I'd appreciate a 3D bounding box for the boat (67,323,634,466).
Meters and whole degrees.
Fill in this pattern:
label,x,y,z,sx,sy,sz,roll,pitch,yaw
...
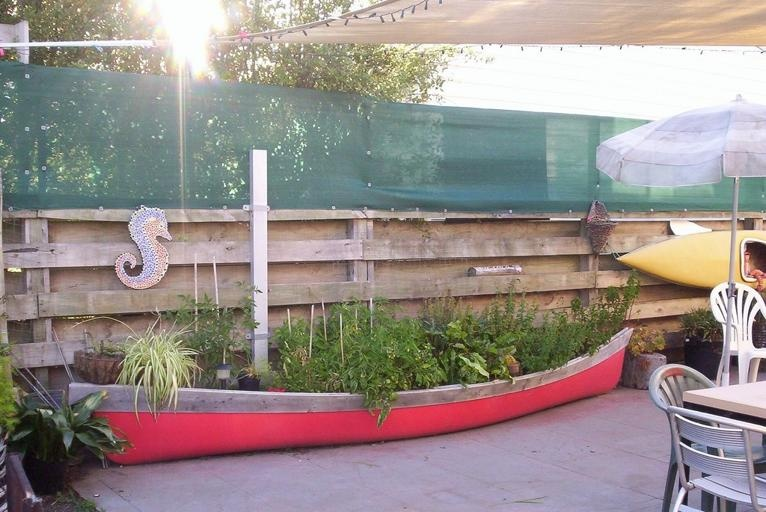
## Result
label,x,y,z,sx,sy,sz,roll,pitch,yaw
boat,0.828,1.267,6.332,6.979,0.847,1.339,2,-4,-21

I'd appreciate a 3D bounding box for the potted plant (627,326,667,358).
label,x,y,z,sx,sy,sz,roll,pitch,yaw
potted plant,3.039,0.923,7.556,0.443,0.236,0.420,-2,16,-3

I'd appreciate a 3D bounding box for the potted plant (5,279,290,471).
label,x,y,z,sx,sy,sz,roll,pitch,yaw
potted plant,-2.002,1.008,5.272,1.591,0.852,2.388,4,-4,-33
